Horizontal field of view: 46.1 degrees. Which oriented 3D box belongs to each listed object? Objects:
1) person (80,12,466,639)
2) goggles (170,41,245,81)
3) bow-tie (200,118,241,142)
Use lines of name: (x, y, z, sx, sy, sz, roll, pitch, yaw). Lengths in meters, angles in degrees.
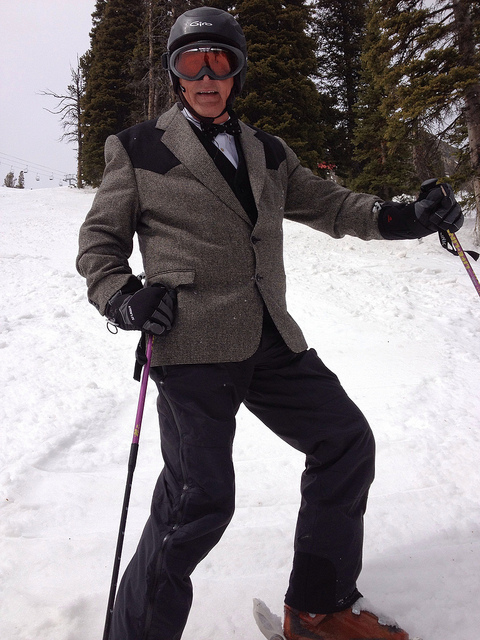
person: (0.037, 0.019, 2.187, 1.264, 2.372, 0.806, 0, 8, -16)
goggles: (-0.127, -0.995, 2.199, 0.296, 0.148, 0.123, 1, 8, -9)
bow-tie: (-0.075, -0.767, 2.259, 0.197, 0.121, 0.049, -5, 10, -43)
